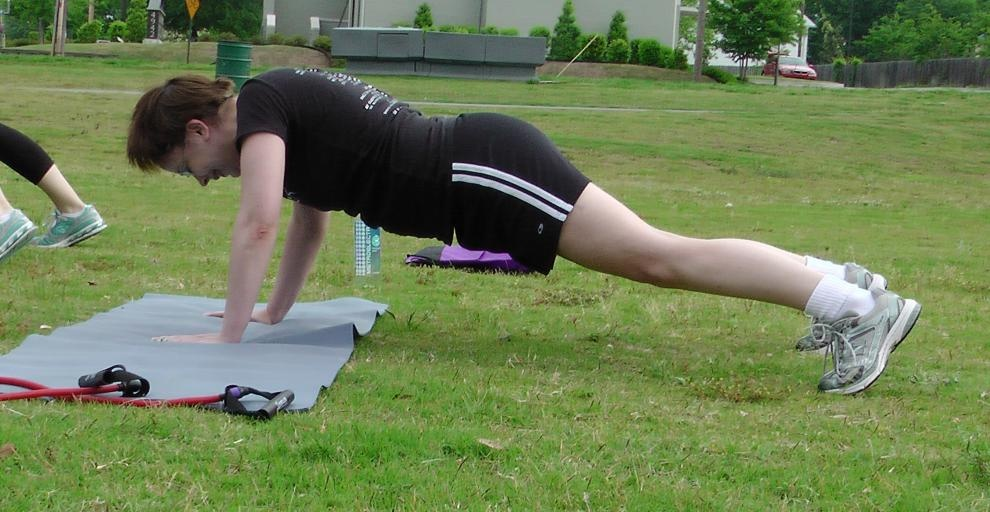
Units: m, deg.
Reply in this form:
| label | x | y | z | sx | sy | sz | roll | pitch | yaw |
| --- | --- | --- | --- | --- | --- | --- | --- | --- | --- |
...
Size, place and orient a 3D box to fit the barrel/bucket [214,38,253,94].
| label | x | y | z | sx | sy | sz | roll | pitch | yaw |
| --- | --- | --- | --- | --- | --- | --- | --- | --- | --- |
| barrel/bucket | -6.501 | -4.647 | 25.050 | 1.005 | 1.178 | 0.904 | 7 | 12 | -3 |
